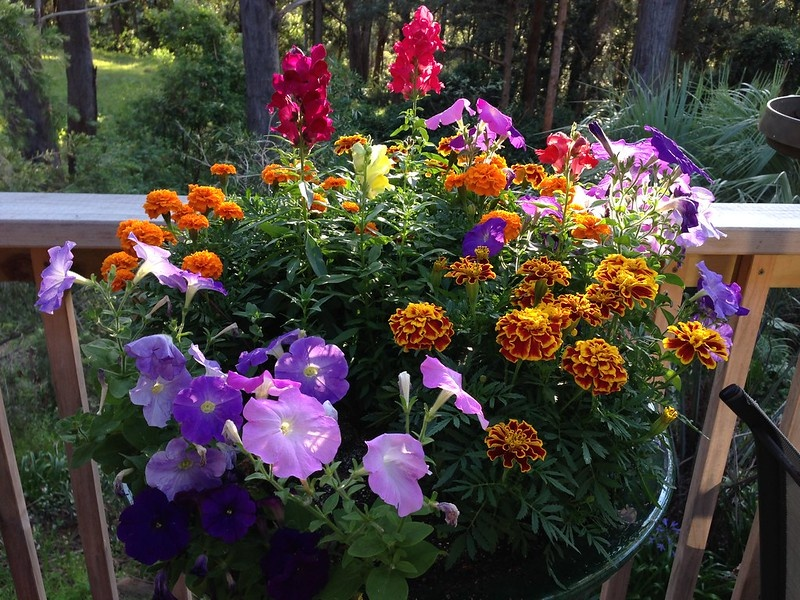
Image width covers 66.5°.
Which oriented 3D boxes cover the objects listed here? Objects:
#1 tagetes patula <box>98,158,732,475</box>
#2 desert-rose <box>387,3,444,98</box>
[{"bbox_3d":[0.029,0.007,1.341,1.099,0.726,0.854,-3,18,-13],"label":"tagetes patula"},{"bbox_3d":[0.045,-0.699,1.717,0.153,0.257,0.292,2,16,2],"label":"desert-rose"}]
